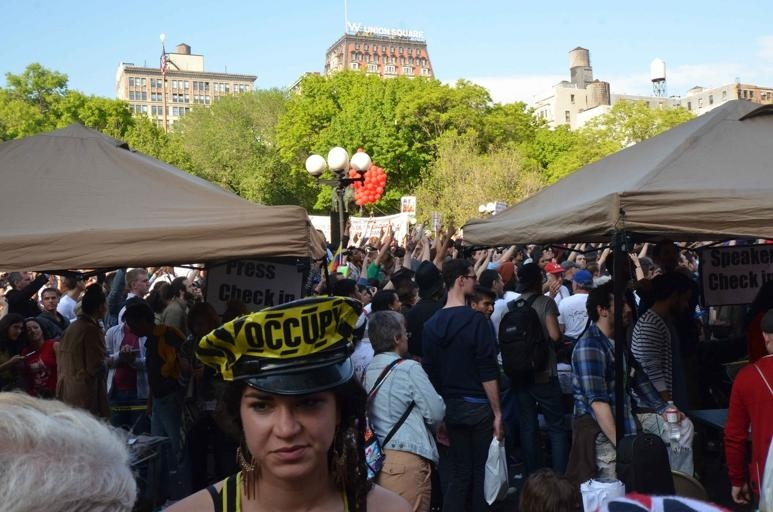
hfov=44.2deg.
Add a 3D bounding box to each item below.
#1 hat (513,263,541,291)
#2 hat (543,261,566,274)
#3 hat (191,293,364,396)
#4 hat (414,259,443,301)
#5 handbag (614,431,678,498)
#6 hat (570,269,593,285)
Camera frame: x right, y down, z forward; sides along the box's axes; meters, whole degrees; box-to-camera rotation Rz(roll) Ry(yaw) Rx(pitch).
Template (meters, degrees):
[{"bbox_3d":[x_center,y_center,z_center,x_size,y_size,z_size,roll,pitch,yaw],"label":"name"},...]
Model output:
[{"bbox_3d":[1.725,0.264,11.683,0.323,0.539,0.238,4,-15,1],"label":"hat"},{"bbox_3d":[2.506,0.181,14.455,0.168,0.131,0.227,2,-2,-27],"label":"hat"},{"bbox_3d":[-0.731,0.576,7.037,1.335,0.531,1.254,1,9,42],"label":"hat"},{"bbox_3d":[0.504,0.273,11.353,0.324,0.224,0.423,-30,13,12],"label":"hat"},{"bbox_3d":[2.379,1.924,8.471,0.479,0.690,0.385,-9,-17,8],"label":"handbag"},{"bbox_3d":[2.577,0.288,12.467,0.170,0.151,0.243,5,31,10],"label":"hat"}]
